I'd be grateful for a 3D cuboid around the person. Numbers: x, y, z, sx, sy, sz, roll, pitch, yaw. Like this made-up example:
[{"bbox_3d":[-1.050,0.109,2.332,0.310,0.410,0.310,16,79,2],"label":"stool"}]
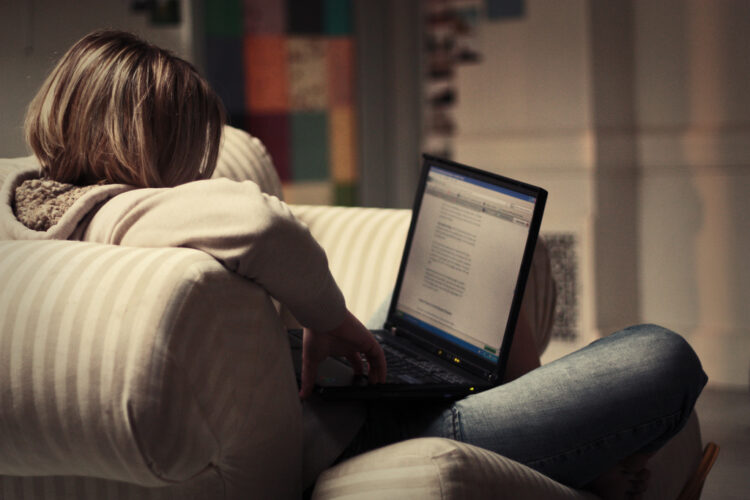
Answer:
[{"bbox_3d":[-0.066,0.083,1.258,0.995,0.638,0.764,1,3,-21],"label":"person"}]
